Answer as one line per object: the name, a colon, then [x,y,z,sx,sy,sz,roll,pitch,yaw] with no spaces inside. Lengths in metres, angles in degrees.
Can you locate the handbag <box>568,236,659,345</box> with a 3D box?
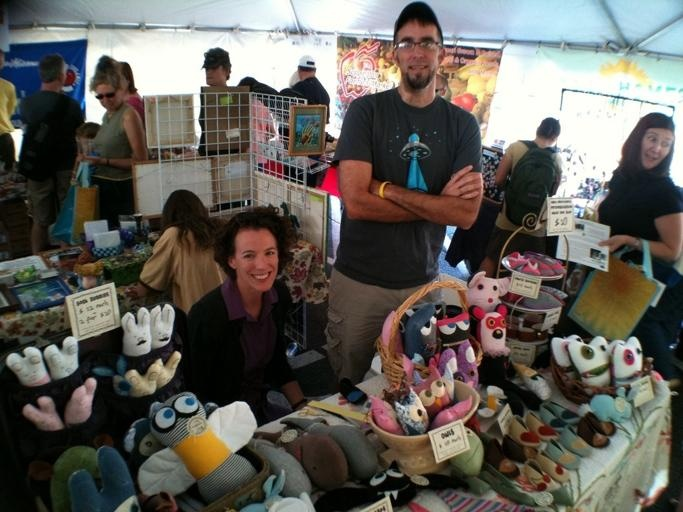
handbag: [1.517,0.138,2.507,0.340,0.621,0.194,30,5,17]

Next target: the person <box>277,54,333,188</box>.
person: [-0.310,-1.985,6.525,0.581,1.795,0.553,-9,59,0]

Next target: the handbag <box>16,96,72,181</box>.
handbag: [-2.985,-1.175,4.629,0.431,0.880,0.376,18,20,39]

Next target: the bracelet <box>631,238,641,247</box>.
bracelet: [1.639,-0.074,2.557,0.046,0.047,0.014,16,-6,-9]

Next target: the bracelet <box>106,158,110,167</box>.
bracelet: [-2.059,-0.823,4.055,0.045,0.046,0.012,6,4,40]

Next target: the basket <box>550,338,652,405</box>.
basket: [1.145,0.486,2.077,0.295,0.249,0.351,-2,2,-23]

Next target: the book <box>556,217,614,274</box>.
book: [1.281,-0.051,2.419,0.242,0.266,0.233,10,16,18]

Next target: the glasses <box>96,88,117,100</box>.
glasses: [-2.065,-1.397,3.987,0.235,0.086,0.099,14,18,28]

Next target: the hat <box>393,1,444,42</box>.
hat: [0.366,-1.102,2.250,0.160,0.229,0.068,2,22,7]

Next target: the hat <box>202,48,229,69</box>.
hat: [-1.304,-2.077,4.827,0.261,0.220,0.195,13,37,14]

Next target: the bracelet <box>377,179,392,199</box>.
bracelet: [0.207,-0.328,2.286,0.058,0.074,0.077,13,17,27]

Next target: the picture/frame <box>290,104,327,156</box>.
picture/frame: [-0.262,-0.964,3.514,0.390,0.422,0.032,-10,20,-37]

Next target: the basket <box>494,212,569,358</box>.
basket: [0.967,0.106,2.382,0.317,0.609,0.322,3,-3,5]

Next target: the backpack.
backpack: [1.610,-0.568,3.886,0.397,0.644,0.376,9,6,8]

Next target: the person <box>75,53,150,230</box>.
person: [-2.172,-0.716,4.219,0.569,1.899,0.555,-10,32,-44]

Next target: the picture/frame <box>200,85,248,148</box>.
picture/frame: [-1.023,-1.195,4.100,0.475,0.602,0.088,-7,19,-37]

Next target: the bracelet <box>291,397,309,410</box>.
bracelet: [-0.219,0.736,2.359,0.071,0.027,0.073,-13,-5,30]
